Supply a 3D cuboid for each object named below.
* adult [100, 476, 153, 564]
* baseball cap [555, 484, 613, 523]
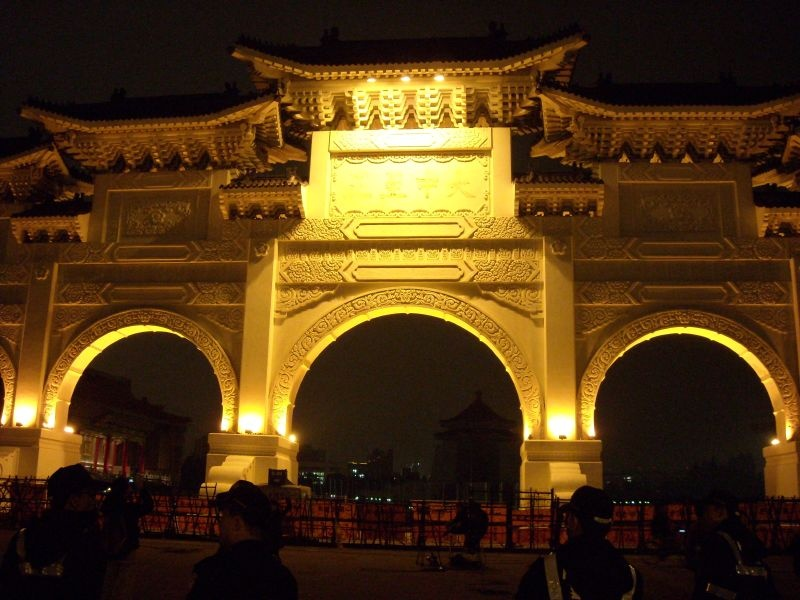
[{"bbox_3d":[-2.775,2.382,9.704,0.428,1.157,0.505,5,-1,-16],"label":"adult"},{"bbox_3d":[1.572,1.680,8.119,0.420,0.200,0.300,-3,-1,15],"label":"baseball cap"}]
